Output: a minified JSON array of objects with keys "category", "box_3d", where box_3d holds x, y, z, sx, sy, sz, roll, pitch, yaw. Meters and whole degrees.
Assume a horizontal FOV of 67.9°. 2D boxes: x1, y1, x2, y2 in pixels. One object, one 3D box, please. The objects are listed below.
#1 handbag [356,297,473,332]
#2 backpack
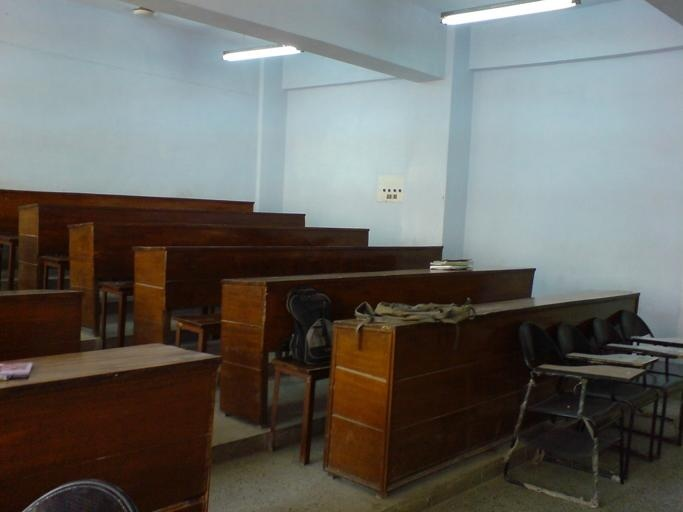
[{"category":"handbag","box_3d":[0.509,0.403,3.339,0.899,0.154,0.389,3,12,-16]},{"category":"backpack","box_3d":[-0.205,0.501,3.745,0.294,0.531,0.382,-5,-1,36]}]
